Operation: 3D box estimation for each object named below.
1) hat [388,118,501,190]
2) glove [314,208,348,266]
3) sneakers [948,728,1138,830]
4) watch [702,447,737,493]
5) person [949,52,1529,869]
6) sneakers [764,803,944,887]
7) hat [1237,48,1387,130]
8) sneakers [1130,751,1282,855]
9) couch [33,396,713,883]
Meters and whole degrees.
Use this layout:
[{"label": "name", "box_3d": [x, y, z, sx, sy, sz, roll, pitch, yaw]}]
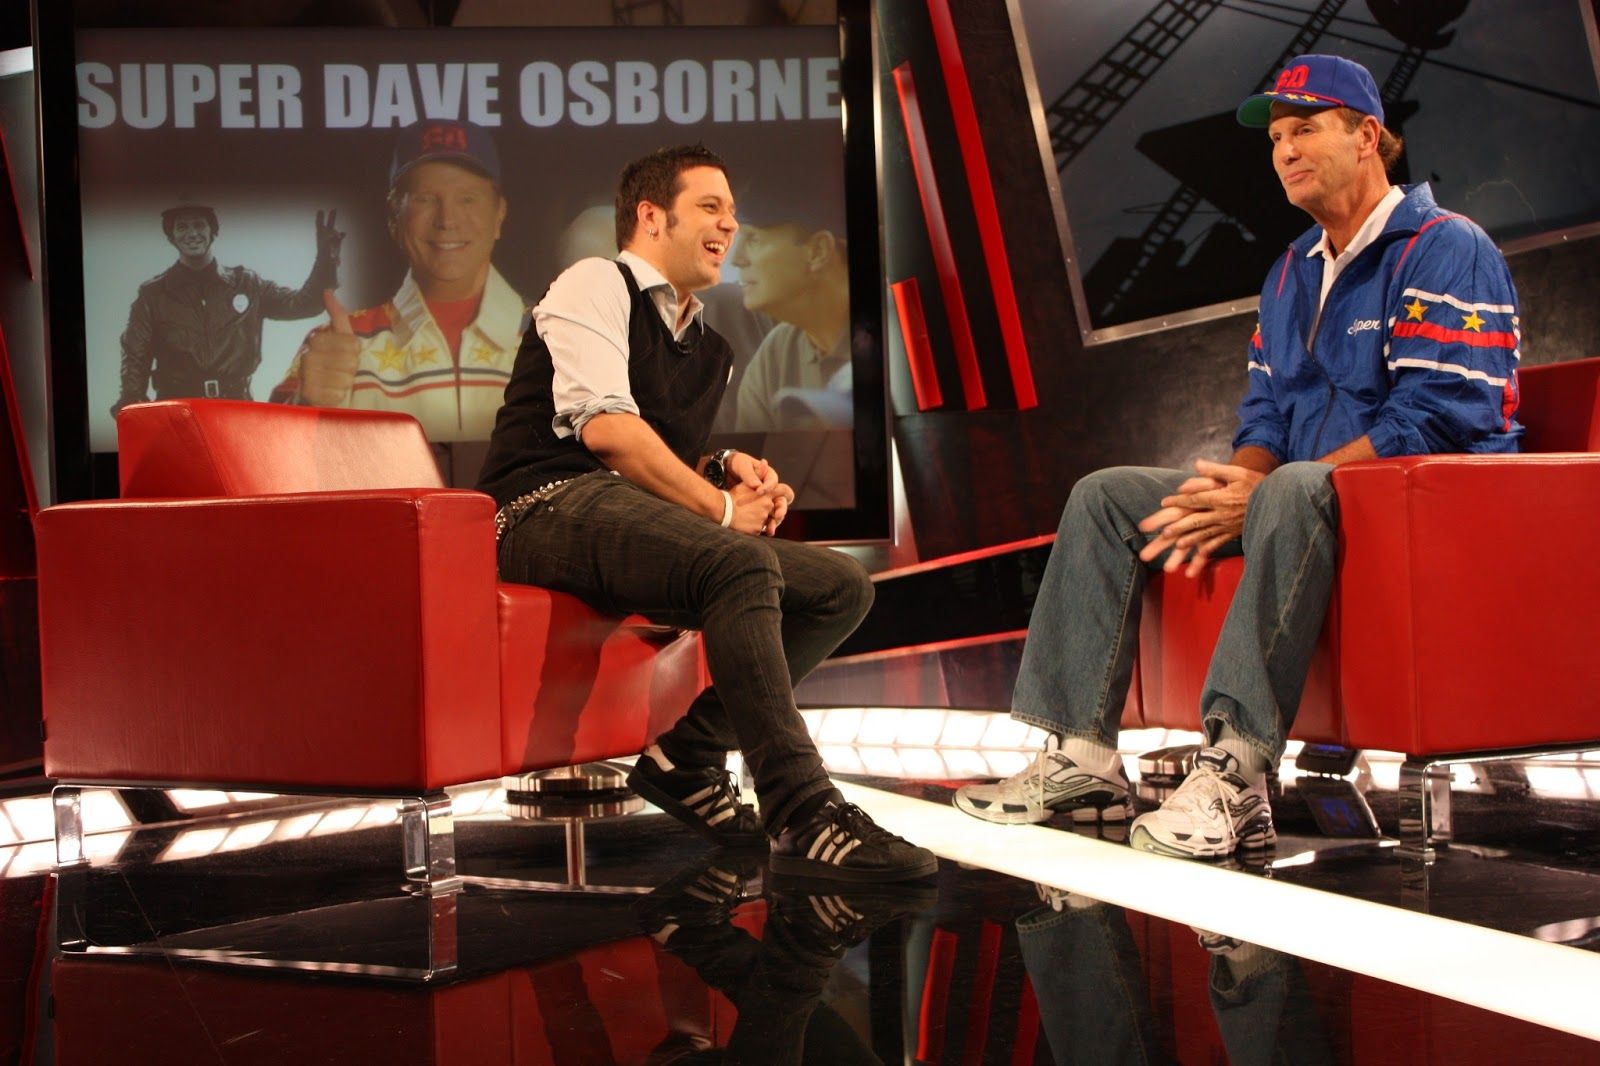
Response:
[{"label": "hat", "box_3d": [-1.167, -1.248, 4.649, 0.289, 0.207, 0.463, 1, 1, -8]}, {"label": "glove", "box_3d": [-1.564, -0.992, 4.552, 0.097, 0.150, 0.040, 9, 7, -1]}, {"label": "sneakers", "box_3d": [0.541, 0.575, 3.111, 0.400, 0.192, 0.155, 2, -1, 4]}, {"label": "watch", "box_3d": [-0.191, -0.142, 3.206, 0.065, 0.095, 0.089, 5, 5, 24]}, {"label": "person", "box_3d": [1.016, -0.209, 3.119, 1.238, 1.720, 0.912, 1, -1, -9]}, {"label": "sneakers", "box_3d": [0.102, 0.615, 2.700, 0.381, 0.174, 0.169, -7, -21, 36]}, {"label": "hat", "box_3d": [1.216, -1.043, 3.231, 0.331, 0.148, 0.229, 2, 6, -29]}, {"label": "sneakers", "box_3d": [0.832, 0.553, 2.805, 0.377, 0.219, 0.136, -2, 9, -35]}, {"label": "couch", "box_3d": [-0.835, 0.173, 3.169, 1.022, 0.900, 1.389, -1, 0, 26]}]
